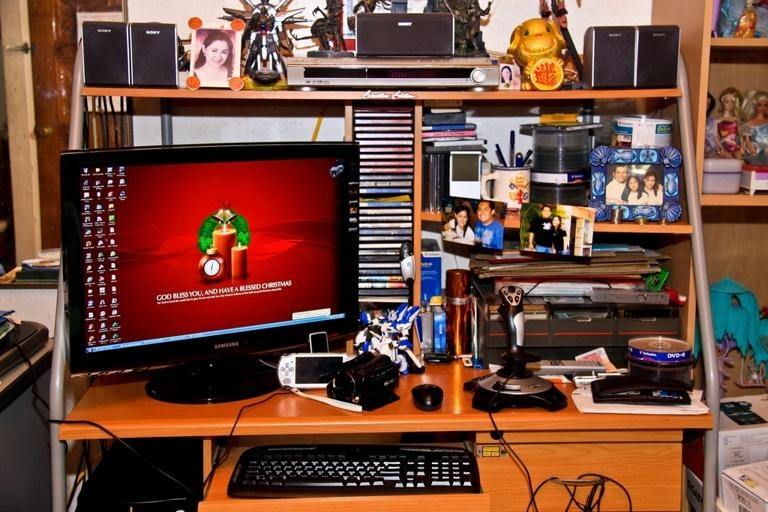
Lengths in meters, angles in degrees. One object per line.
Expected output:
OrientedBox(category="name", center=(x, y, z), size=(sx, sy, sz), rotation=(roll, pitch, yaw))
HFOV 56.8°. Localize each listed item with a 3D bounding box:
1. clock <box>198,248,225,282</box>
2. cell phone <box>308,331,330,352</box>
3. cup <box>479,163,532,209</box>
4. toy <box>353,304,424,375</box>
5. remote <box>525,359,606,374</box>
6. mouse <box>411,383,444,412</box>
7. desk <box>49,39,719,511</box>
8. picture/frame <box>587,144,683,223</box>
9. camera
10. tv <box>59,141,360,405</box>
OrientedBox(category="clock", center=(-0.553, 0.026, 2.252), size=(0.102, 0.109, 0.045), rotation=(2, 11, -11))
OrientedBox(category="cell phone", center=(-0.222, 0.288, 2.389), size=(0.078, 0.097, 0.010), rotation=(-1, 0, -18))
OrientedBox(category="cup", center=(0.431, -0.242, 2.535), size=(0.181, 0.166, 0.118), rotation=(-2, 12, -2))
OrientedBox(category="toy", center=(0.017, 0.271, 2.434), size=(0.232, 0.230, 0.119), rotation=(3, -31, 18))
OrientedBox(category="remote", center=(0.601, 0.371, 2.354), size=(0.179, 0.035, 0.090), rotation=(0, 4, 0))
OrientedBox(category="mouse", center=(0.136, 0.436, 2.177), size=(0.065, 0.028, 0.087), rotation=(0, 11, -4))
OrientedBox(category="desk", center=(0.029, 0.088, 2.310), size=(1.721, 1.257, 0.640), rotation=(-1, -3, -2))
OrientedBox(category="picture/frame", center=(0.859, -0.247, 2.422), size=(0.277, 0.237, 0.074), rotation=(1, 0, 1))
OrientedBox(category="camera", center=(-0.046, 0.409, 2.265), size=(0.153, 0.067, 0.191), rotation=(26, 22, 27))
OrientedBox(category="tv", center=(-0.572, 0.051, 2.244), size=(0.870, 0.688, 0.281), rotation=(-2, 8, -12))
